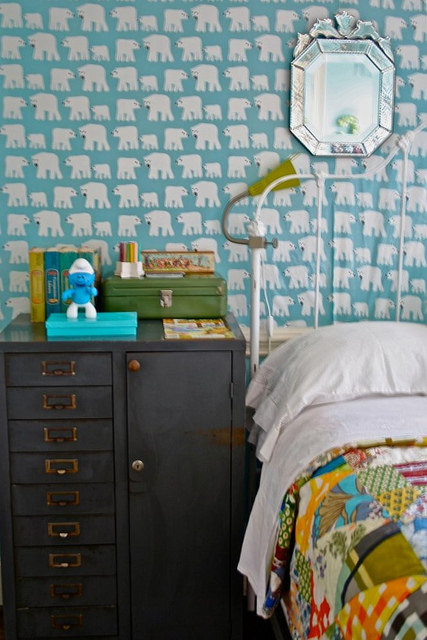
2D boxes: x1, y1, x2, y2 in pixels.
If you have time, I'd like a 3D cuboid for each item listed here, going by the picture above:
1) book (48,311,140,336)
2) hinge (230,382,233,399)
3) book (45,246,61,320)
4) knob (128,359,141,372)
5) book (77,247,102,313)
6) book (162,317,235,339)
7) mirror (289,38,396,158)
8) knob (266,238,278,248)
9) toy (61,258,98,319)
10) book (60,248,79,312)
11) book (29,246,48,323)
[{"bbox_3d":[-0.334,-0.001,1.666,0.248,0.063,0.200,-3,5,-7],"label":"book"},{"bbox_3d":[0.045,0.184,1.578,0.008,0.041,0.004,-1,6,7],"label":"hinge"},{"bbox_3d":[-0.469,-0.107,1.727,0.056,0.176,0.175,-1,8,-10],"label":"book"},{"bbox_3d":[-0.206,0.117,1.533,0.032,0.034,0.021,-3,5,-8],"label":"knob"},{"bbox_3d":[-0.359,-0.112,1.700,0.054,0.170,0.173,-2,9,-5],"label":"book"},{"bbox_3d":[-0.047,0.020,1.664,0.184,0.043,0.257,-3,5,-5],"label":"book"},{"bbox_3d":[0.419,-0.756,1.963,0.395,0.433,0.031,0,13,-5],"label":"mirror"},{"bbox_3d":[0.175,-0.234,1.789,0.033,0.021,0.025,-5,-3,31],"label":"knob"},{"bbox_3d":[-0.374,-0.089,1.661,0.088,0.178,0.068,2,17,-6],"label":"toy"},{"bbox_3d":[-0.411,-0.116,1.691,0.051,0.160,0.158,-1,5,-9],"label":"book"},{"bbox_3d":[-0.513,-0.104,1.738,0.065,0.194,0.192,-1,9,-8],"label":"book"}]
